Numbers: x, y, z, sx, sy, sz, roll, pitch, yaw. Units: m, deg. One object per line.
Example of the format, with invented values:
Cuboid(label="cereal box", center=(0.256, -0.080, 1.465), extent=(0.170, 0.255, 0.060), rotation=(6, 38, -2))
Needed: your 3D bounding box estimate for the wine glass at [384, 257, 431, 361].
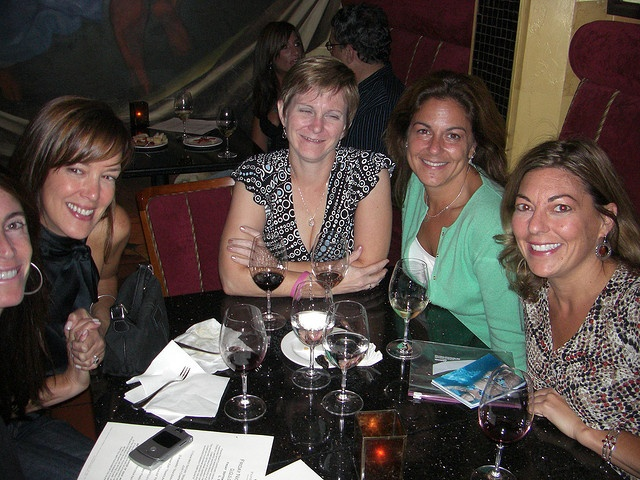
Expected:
Cuboid(label="wine glass", center=(0.322, 0.262, 1.821), extent=(0.164, 0.433, 0.187), rotation=(6, 20, 19))

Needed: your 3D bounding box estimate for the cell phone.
Cuboid(label="cell phone", center=(-0.431, 0.553, 1.377), extent=(0.081, 0.027, 0.117), rotation=(18, 29, 30))

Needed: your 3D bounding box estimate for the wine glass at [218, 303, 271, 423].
Cuboid(label="wine glass", center=(-0.230, 0.379, 1.578), extent=(0.134, 0.327, 0.134), rotation=(0, 14, -18))

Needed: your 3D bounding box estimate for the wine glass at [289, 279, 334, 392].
Cuboid(label="wine glass", center=(-0.017, 0.292, 1.653), extent=(0.160, 0.398, 0.156), rotation=(-4, 23, -19))

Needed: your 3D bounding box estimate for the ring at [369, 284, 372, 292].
Cuboid(label="ring", center=(0.219, 0.204, 2.125), extent=(0.019, 0.023, 0.008), rotation=(12, 4, -35))

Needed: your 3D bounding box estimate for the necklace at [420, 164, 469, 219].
Cuboid(label="necklace", center=(0.585, -0.207, 2.341), extent=(0.040, 0.238, 0.171), rotation=(12, 19, -35))

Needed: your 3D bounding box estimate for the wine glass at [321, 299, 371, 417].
Cuboid(label="wine glass", center=(0.077, 0.366, 1.536), extent=(0.161, 0.385, 0.177), rotation=(-3, 25, -10))

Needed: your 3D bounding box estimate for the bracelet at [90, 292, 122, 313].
Cuboid(label="bracelet", center=(-0.844, 0.247, 1.978), extent=(0.065, 0.096, 0.067), rotation=(1, -16, -7))

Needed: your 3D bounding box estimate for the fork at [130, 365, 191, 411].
Cuboid(label="fork", center=(-0.494, 0.462, 1.556), extent=(0.164, 0.025, 0.022), rotation=(-35, 48, -25))

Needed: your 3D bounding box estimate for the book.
Cuboid(label="book", center=(0.425, 0.432, 1.620), extent=(0.186, 0.036, 0.216), rotation=(7, 38, 20))

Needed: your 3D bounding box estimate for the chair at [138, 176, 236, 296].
Cuboid(label="chair", center=(-0.615, -0.011, 2.387), extent=(0.298, 0.545, 0.334), rotation=(-16, 39, -20))

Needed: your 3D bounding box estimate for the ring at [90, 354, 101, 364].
Cuboid(label="ring", center=(-0.752, 0.402, 1.696), extent=(0.026, 0.007, 0.027), rotation=(-4, 22, 2))

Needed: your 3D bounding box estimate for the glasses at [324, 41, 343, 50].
Cuboid(label="glasses", center=(0.124, -1.592, 4.140), extent=(0.144, 0.048, 0.149), rotation=(0, 32, -2))

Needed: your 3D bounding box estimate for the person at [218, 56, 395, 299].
Cuboid(label="person", center=(-0.047, -0.267, 2.384), extent=(0.853, 1.058, 0.614), rotation=(-8, 25, -22))

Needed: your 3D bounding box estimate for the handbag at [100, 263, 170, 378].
Cuboid(label="handbag", center=(-0.617, 0.258, 1.745), extent=(0.158, 0.253, 0.356), rotation=(5, 30, 3))
